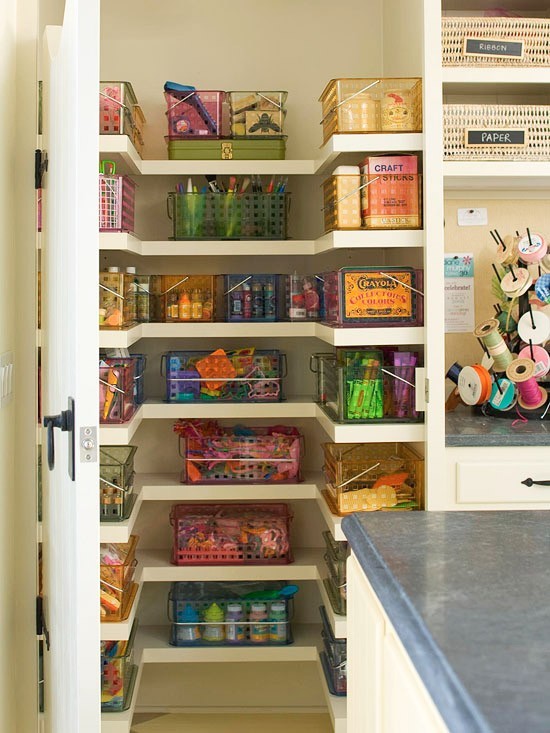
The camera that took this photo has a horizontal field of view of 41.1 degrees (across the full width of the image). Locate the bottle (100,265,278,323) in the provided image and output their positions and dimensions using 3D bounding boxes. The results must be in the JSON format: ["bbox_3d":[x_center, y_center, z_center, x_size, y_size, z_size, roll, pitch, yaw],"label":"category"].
[{"bbox_3d":[-0.227,-0.265,2.376,0.496,0.213,0.143,-3,9,-19],"label":"bottle"}]
